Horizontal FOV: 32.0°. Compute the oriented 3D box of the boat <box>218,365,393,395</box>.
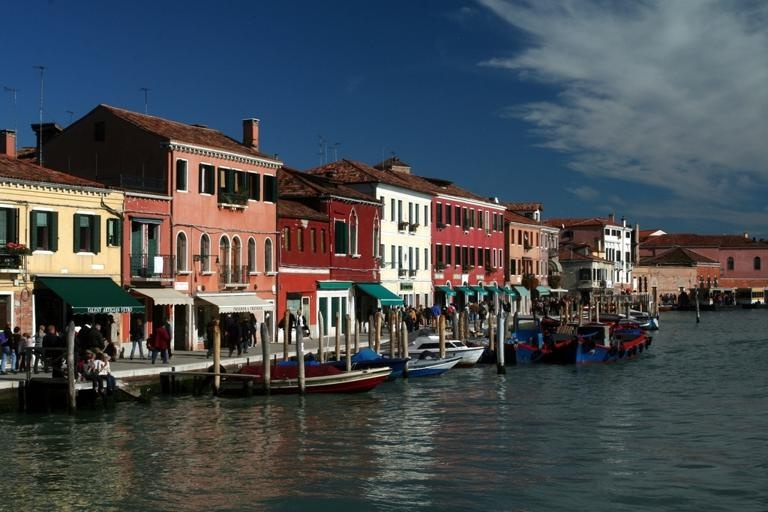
[{"bbox_3d":[-3.971,6.702,67.095,8.461,1.280,2.463,-1,-3,-8],"label":"boat"}]

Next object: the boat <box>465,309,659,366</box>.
[{"bbox_3d":[12.897,5.457,90.514,9.577,4.078,18.250,-4,-6,11],"label":"boat"}]

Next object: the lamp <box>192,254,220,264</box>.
[{"bbox_3d":[-10.558,-0.294,78.965,0.456,0.624,1.694,-1,0,35],"label":"lamp"}]

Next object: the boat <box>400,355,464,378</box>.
[{"bbox_3d":[2.592,6.193,75.567,3.329,1.123,1.043,-2,1,-34],"label":"boat"}]
